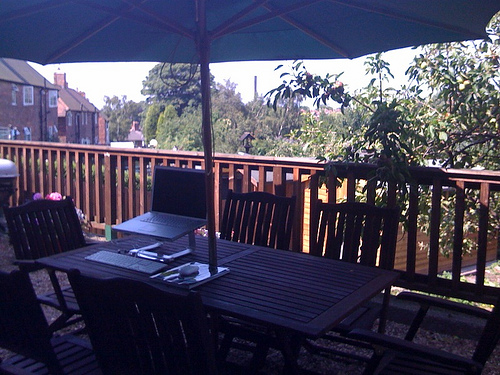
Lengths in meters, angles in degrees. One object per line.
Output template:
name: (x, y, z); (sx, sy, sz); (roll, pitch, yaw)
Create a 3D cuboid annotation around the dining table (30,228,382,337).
dining table: (-0.020, 0.751, 2.846); (1.602, 0.442, 0.801); (5, 15, 44)

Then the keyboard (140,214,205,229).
keyboard: (-0.561, 0.239, 3.076); (0.492, 0.050, 0.113); (9, 17, 29)

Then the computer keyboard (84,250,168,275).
computer keyboard: (-0.804, 0.481, 2.842); (0.591, 0.037, 0.193); (8, 17, 26)

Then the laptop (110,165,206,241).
laptop: (-0.599, 0.075, 2.954); (0.555, 0.409, 0.496); (7, 9, 37)
